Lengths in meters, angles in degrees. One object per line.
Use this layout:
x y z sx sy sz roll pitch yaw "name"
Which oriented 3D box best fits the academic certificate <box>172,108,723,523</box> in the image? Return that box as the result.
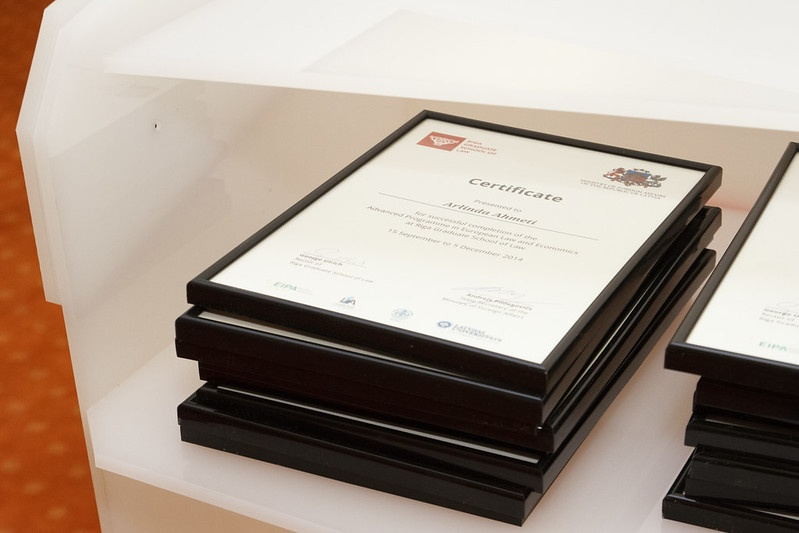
0.081 0.011 0.702 0.402 0.484 0.131 15 -58 27 "academic certificate"
